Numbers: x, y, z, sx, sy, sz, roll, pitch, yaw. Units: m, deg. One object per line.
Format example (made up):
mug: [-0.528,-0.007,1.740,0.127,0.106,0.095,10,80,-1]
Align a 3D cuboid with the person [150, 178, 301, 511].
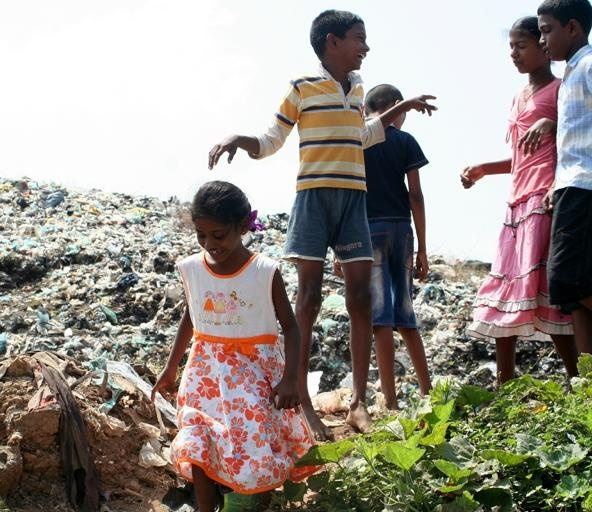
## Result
person: [-0.277,0.349,2.189,0.647,1.319,0.419,-2,-11,1]
